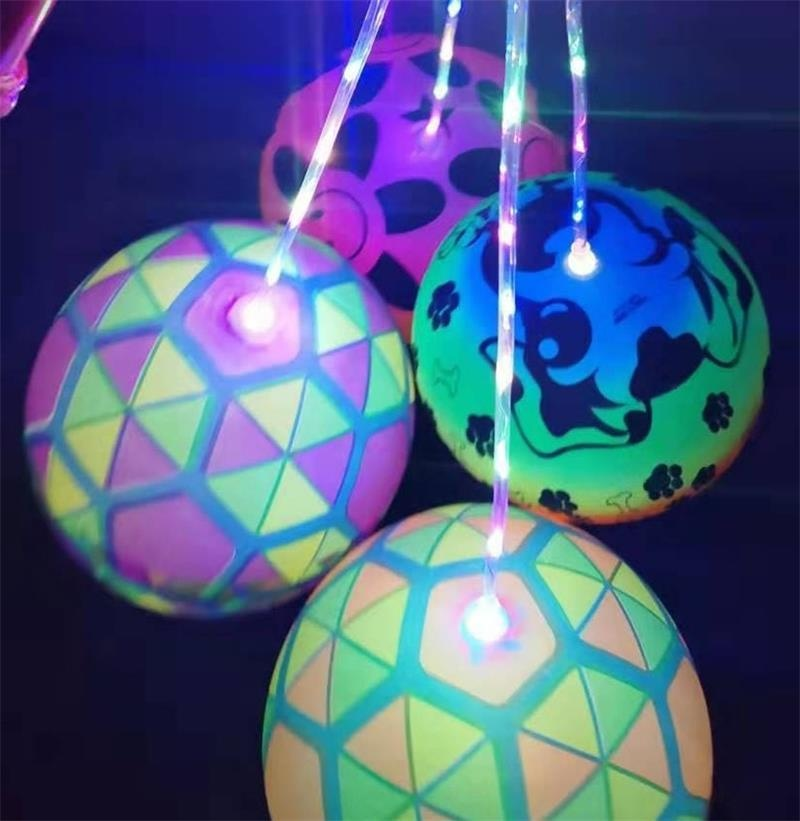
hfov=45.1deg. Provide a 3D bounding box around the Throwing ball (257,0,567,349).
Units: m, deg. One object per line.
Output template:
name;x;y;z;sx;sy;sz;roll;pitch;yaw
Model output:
Throwing ball;0.025;-0.301;1.392;0.324;0.366;0.523;8;100;29

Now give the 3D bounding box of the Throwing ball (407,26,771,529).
Throwing ball;0.257;-0.075;1.212;0.394;0.284;0.513;-9;42;14

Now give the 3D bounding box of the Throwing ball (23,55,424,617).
Throwing ball;-0.190;-0.011;1.213;0.370;0.396;0.523;27;84;1
